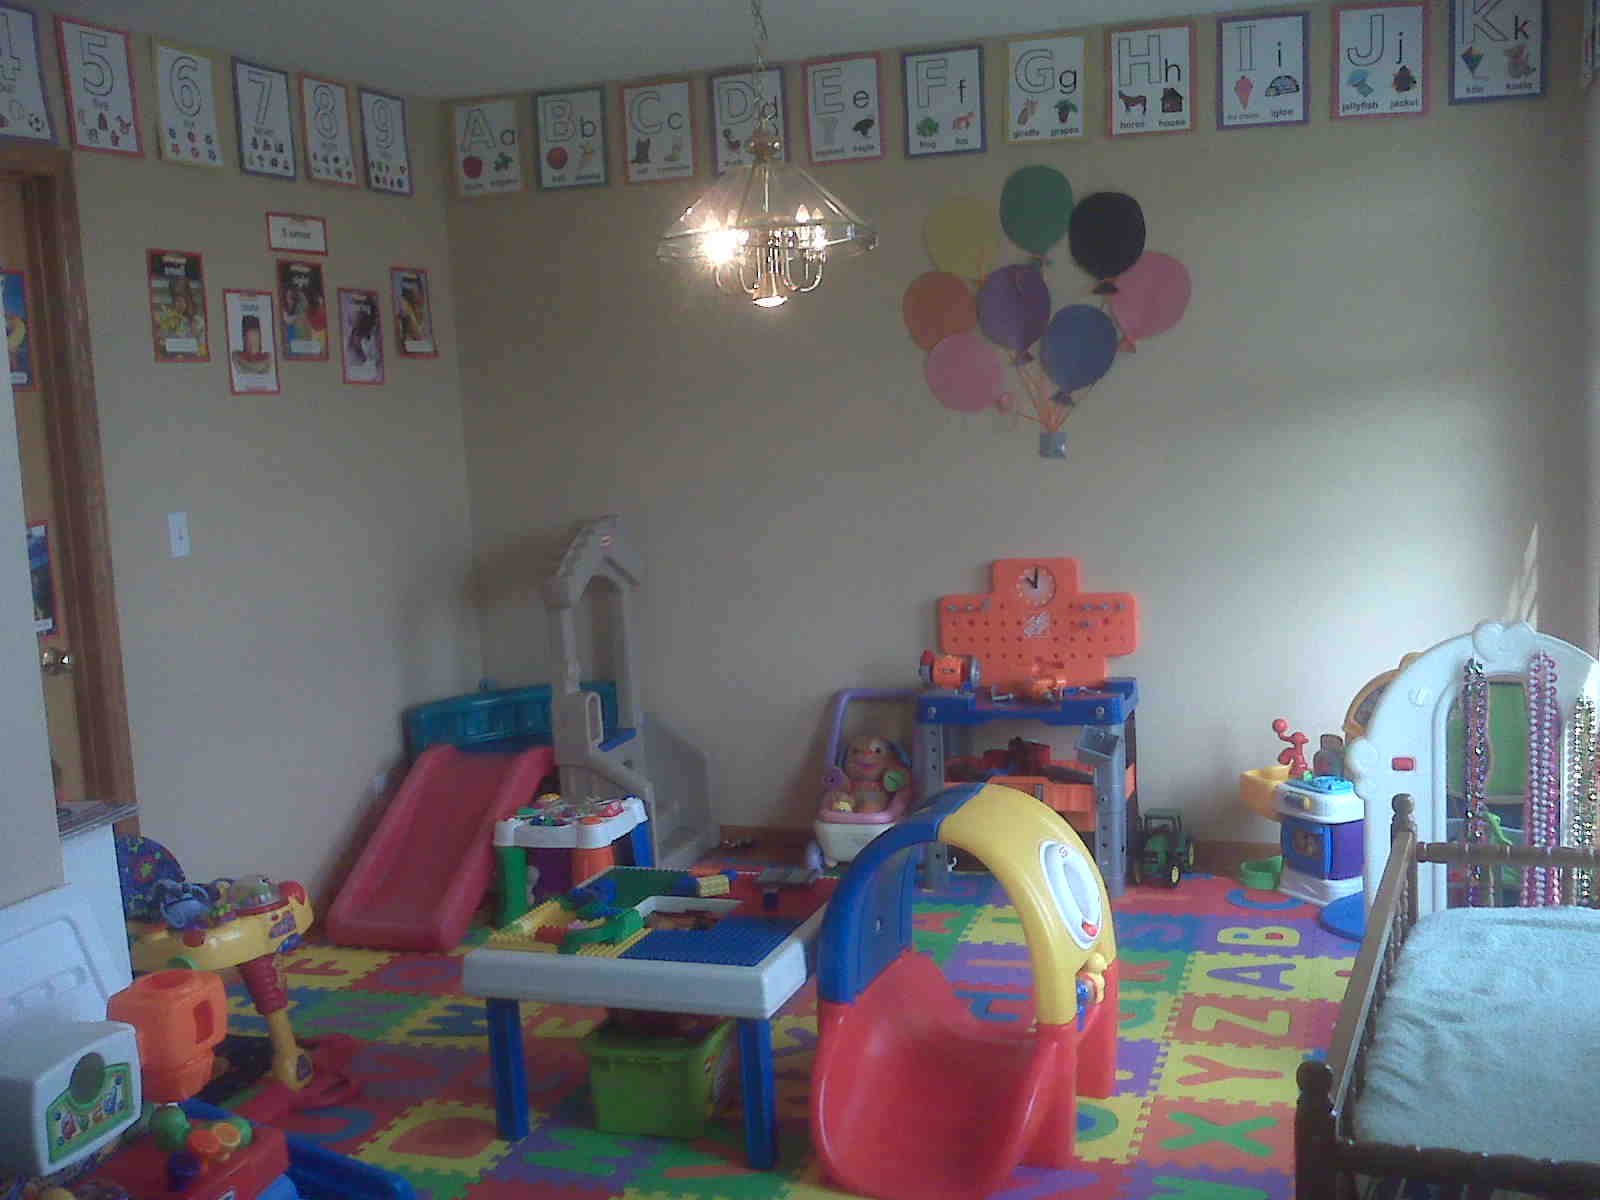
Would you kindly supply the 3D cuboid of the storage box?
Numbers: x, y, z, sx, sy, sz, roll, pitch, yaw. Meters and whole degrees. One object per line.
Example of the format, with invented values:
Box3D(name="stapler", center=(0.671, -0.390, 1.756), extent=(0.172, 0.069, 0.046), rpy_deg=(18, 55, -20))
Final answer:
Box3D(name="storage box", center=(-0.398, 1.322, 3.668), extent=(0.334, 0.221, 0.300), rpy_deg=(0, -3, 9))
